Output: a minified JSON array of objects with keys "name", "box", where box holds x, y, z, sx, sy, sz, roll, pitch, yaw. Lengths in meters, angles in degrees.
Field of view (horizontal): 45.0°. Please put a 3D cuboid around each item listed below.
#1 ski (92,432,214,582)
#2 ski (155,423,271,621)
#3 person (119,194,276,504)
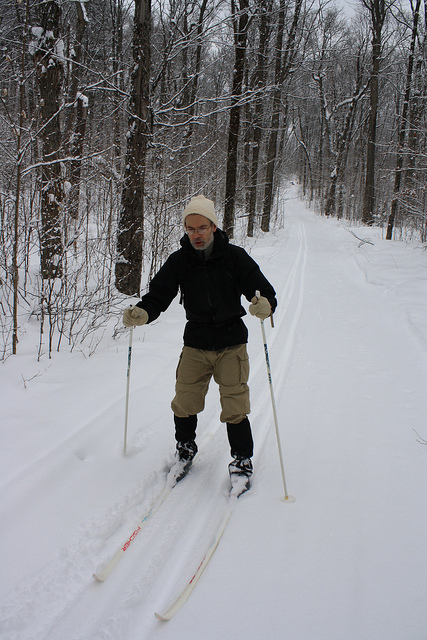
[{"name":"ski","box":[-0.302,1.161,3.919,0.201,0.127,2.234,2,19,17]},{"name":"ski","box":[-0.003,1.343,3.365,0.115,0.193,1.666,-19,17,30]},{"name":"person","box":[-0.056,0.179,3.729,0.981,2.088,0.457,4,10,15]}]
